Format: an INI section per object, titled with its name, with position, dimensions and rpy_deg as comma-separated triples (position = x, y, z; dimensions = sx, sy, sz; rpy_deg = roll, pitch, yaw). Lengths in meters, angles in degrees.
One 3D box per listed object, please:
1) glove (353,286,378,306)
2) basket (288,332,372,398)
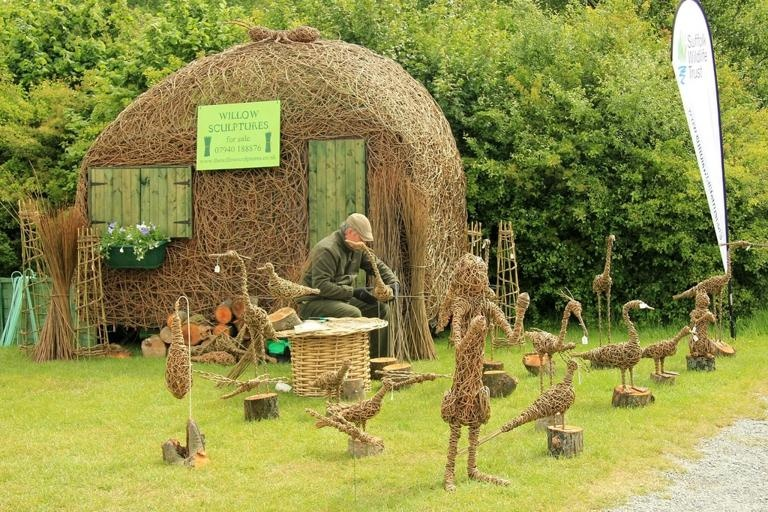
[glove]
position = -0.323, 0.675, 19.361
dimensions = 0.401, 0.297, 0.651
rpy_deg = -1, -2, 3
[basket]
position = -0.893, 1.772, 19.051
dimensions = 1.297, 1.017, 1.274
rpy_deg = -1, -9, -33
